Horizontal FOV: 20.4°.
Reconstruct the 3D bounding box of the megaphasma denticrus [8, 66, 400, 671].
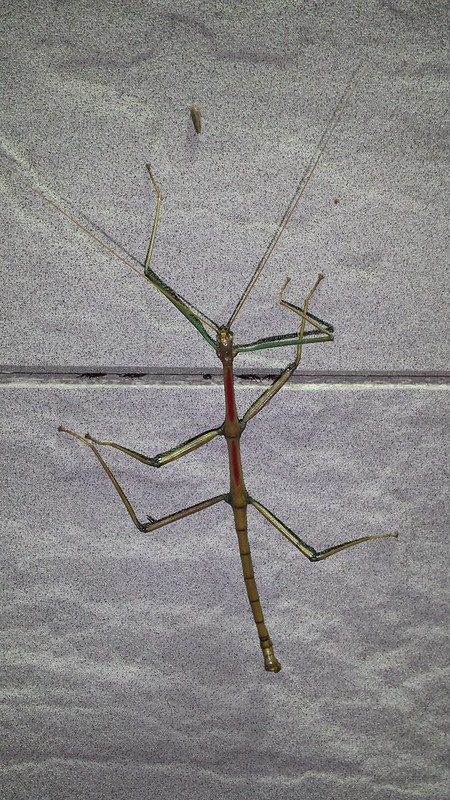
[{"bbox_3d":[-0.026,-0.060,2.215,0.612,0.959,0.545,-4,-29,8],"label":"megaphasma denticrus"}]
